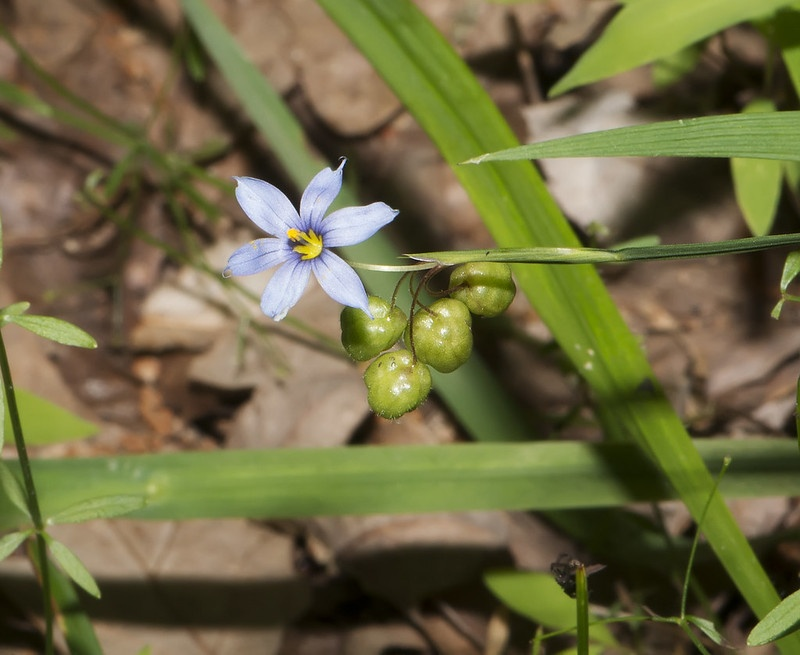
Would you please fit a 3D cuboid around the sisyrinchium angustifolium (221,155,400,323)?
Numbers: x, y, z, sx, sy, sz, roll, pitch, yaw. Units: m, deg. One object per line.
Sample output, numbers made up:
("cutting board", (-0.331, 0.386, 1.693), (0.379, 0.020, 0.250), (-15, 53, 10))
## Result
("sisyrinchium angustifolium", (-0.134, -0.130, 1.315), (0.268, 0.199, 0.190), (-15, -62, 0))
